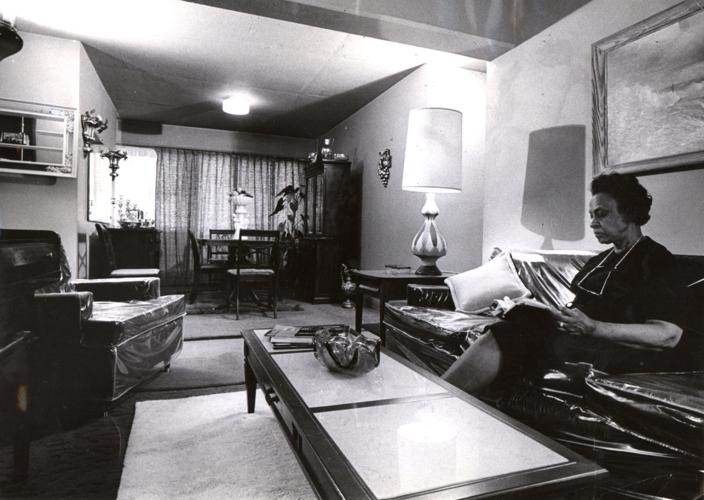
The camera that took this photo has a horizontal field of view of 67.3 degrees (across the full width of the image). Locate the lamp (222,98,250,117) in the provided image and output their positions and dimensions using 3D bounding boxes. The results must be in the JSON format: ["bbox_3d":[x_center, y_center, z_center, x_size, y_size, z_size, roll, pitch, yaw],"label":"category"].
[{"bbox_3d":[-1.408,-1.732,6.440,0.233,0.092,0.233,3,7,11],"label":"lamp"}]

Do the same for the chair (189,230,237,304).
[{"bbox_3d":[-1.673,0.241,6.373,0.633,0.827,0.603,0,-2,6],"label":"chair"}]

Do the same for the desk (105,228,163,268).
[{"bbox_3d":[-2.464,-0.052,6.013,0.567,0.508,0.391,3,21,-16],"label":"desk"}]

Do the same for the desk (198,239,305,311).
[{"bbox_3d":[-1.304,0.286,6.194,0.725,0.849,1.473,1,1,-24],"label":"desk"}]

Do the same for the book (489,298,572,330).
[{"bbox_3d":[0.817,0.305,2.588,0.209,0.080,0.219,0,2,-24],"label":"book"}]

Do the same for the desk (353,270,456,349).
[{"bbox_3d":[0.293,0.450,4.267,0.491,0.465,0.508,-4,5,-33],"label":"desk"}]

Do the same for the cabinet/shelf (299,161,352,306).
[{"bbox_3d":[-0.331,-0.248,6.860,0.689,1.773,0.914,-1,7,-11],"label":"cabinet/shelf"}]

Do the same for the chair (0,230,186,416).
[{"bbox_3d":[-1.277,0.375,3.035,0.928,0.938,0.941,1,3,-8],"label":"chair"}]

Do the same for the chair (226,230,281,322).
[{"bbox_3d":[-1.040,0.252,5.800,0.579,0.904,0.633,2,-1,-33],"label":"chair"}]

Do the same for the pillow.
[{"bbox_3d":[0.848,0.231,3.366,0.524,0.142,0.538,-12,32,22],"label":"pillow"}]

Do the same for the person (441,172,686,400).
[{"bbox_3d":[1.063,0.200,2.800,1.153,1.188,0.763,-2,0,-1],"label":"person"}]
